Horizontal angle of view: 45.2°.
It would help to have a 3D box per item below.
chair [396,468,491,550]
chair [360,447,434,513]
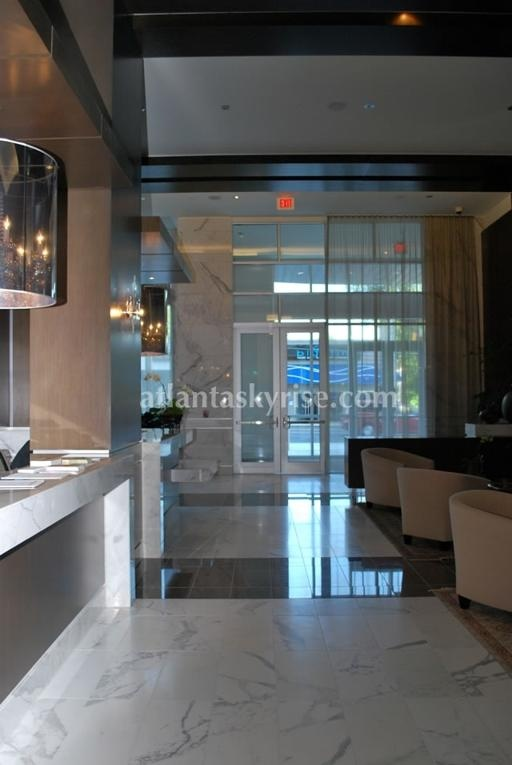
[{"bbox_3d":[1.507,0.995,5.310,0.660,0.738,0.703,-3,11,3],"label":"chair"},{"bbox_3d":[1.492,1.046,6.823,0.726,0.677,0.635,2,-3,-45],"label":"chair"}]
